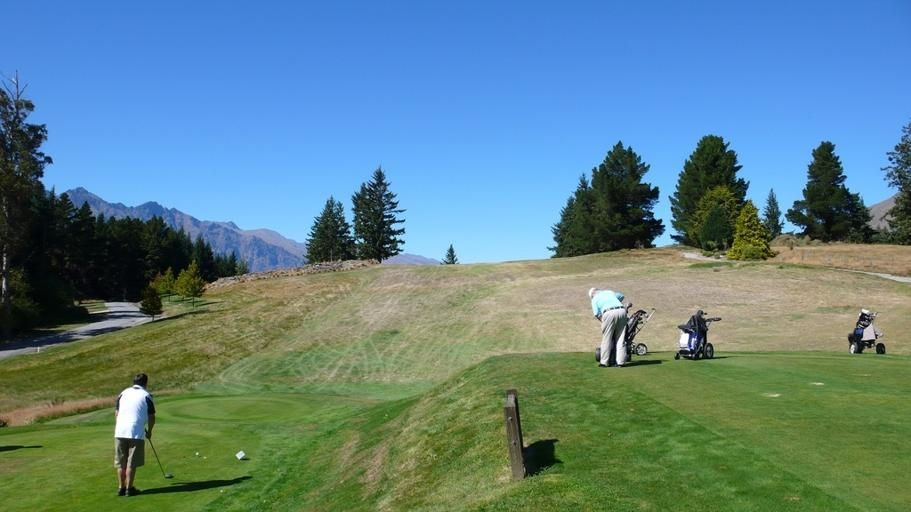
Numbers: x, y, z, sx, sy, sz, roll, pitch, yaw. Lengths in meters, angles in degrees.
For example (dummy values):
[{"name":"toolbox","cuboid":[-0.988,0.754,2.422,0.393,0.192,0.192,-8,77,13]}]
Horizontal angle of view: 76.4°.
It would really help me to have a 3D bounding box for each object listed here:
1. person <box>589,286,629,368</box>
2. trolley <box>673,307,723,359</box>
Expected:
[{"name":"person","cuboid":[7.140,3.361,26.654,1.487,3.598,1.060,-2,-2,21]},{"name":"trolley","cuboid":[11.688,3.910,28.278,1.766,2.305,1.023,0,-3,-36]}]
